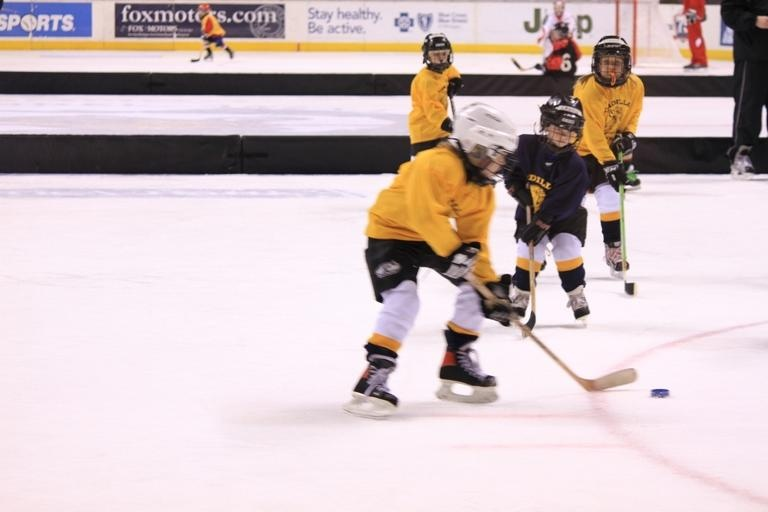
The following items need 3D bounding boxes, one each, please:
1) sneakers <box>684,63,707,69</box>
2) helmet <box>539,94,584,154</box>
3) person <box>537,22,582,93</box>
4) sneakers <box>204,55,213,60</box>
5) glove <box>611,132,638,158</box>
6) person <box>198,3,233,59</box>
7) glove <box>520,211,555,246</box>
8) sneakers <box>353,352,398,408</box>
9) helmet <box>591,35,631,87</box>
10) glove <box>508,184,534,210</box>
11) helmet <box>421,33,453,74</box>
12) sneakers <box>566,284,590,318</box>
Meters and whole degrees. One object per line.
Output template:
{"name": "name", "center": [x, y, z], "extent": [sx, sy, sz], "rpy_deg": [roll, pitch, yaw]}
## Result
{"name": "sneakers", "center": [3.695, -2.267, 13.651], "extent": [0.331, 0.094, 0.094], "rpy_deg": [1, 8, 5]}
{"name": "helmet", "center": [0.941, -0.703, 6.078], "extent": [0.268, 0.245, 0.295], "rpy_deg": [12, 9, -4]}
{"name": "person", "center": [1.947, -2.208, 12.670], "extent": [0.420, 0.772, 1.018], "rpy_deg": [1, 10, 7]}
{"name": "sneakers", "center": [-2.372, -2.691, 15.457], "extent": [0.171, 0.065, 0.195], "rpy_deg": [-2, 6, -8]}
{"name": "glove", "center": [1.445, -0.671, 6.961], "extent": [0.158, 0.071, 0.167], "rpy_deg": [6, 48, 6]}
{"name": "person", "center": [-2.363, -3.069, 15.681], "extent": [0.537, 0.822, 1.741], "rpy_deg": [-2, 9, -8]}
{"name": "glove", "center": [0.789, -0.151, 6.076], "extent": [0.139, 0.180, 0.060], "rpy_deg": [27, 25, -53]}
{"name": "sneakers", "center": [0.000, 0.580, 5.383], "extent": [0.249, 0.196, 0.142], "rpy_deg": [11, -5, 45]}
{"name": "helmet", "center": [1.341, -1.150, 6.738], "extent": [0.252, 0.231, 0.273], "rpy_deg": [1, 4, 14]}
{"name": "glove", "center": [0.727, -0.318, 6.142], "extent": [0.151, 0.061, 0.095], "rpy_deg": [32, 5, 26]}
{"name": "helmet", "center": [0.355, -1.373, 7.741], "extent": [0.185, 0.260, 0.246], "rpy_deg": [0, 10, -1]}
{"name": "sneakers", "center": [1.027, 0.226, 6.186], "extent": [0.106, 0.083, 0.215], "rpy_deg": [33, 34, -35]}
